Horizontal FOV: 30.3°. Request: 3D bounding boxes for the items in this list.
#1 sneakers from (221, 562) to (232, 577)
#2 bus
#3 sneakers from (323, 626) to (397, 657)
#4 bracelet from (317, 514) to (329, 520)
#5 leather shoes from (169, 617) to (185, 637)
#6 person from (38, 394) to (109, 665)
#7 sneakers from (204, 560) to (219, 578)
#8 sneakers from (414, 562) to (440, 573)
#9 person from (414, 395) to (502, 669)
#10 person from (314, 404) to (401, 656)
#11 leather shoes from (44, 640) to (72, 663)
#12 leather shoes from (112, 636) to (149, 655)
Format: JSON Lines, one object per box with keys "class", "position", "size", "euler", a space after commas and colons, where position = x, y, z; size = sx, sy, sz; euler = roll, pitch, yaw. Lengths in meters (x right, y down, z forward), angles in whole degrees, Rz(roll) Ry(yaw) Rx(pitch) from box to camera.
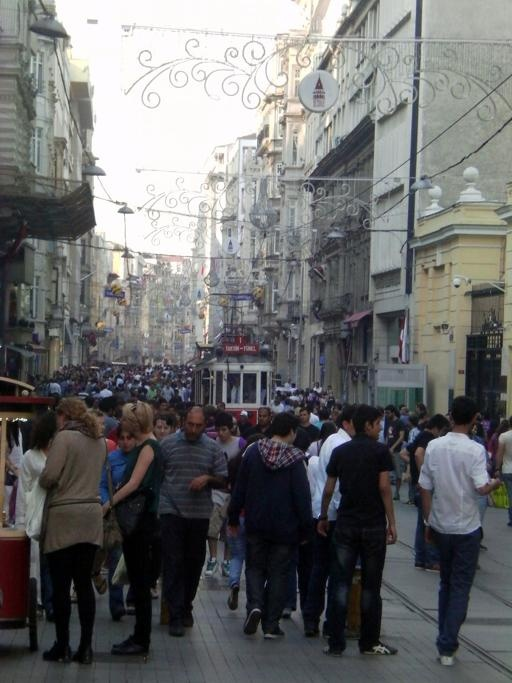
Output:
{"class": "sneakers", "position": [-0.295, 2.329, 9.685], "size": [0.089, 0.142, 0.288], "euler": [1, 7, -1]}
{"class": "bus", "position": [-0.598, 1.012, 26.790], "size": [1.311, 2.067, 3.679], "euler": [1, -2, -5]}
{"class": "sneakers", "position": [0.691, 2.048, 6.481], "size": [0.534, 0.255, 0.180], "euler": [-2, -2, 3]}
{"class": "bracelet", "position": [0.496, 1.279, 6.903], "size": [0.044, 0.033, 0.055], "euler": [1, -5, -13]}
{"class": "leather shoes", "position": [-0.567, 2.049, 6.782], "size": [0.104, 0.121, 0.094], "euler": [3, -2, -5]}
{"class": "person", "position": [-1.145, 1.174, 5.870], "size": [0.389, 1.609, 0.383], "euler": [2, -2, -10]}
{"class": "sneakers", "position": [-0.459, 2.291, 9.669], "size": [0.070, 0.108, 0.234], "euler": [1, 8, 4]}
{"class": "sneakers", "position": [1.859, 2.436, 10.213], "size": [0.211, 0.110, 0.086], "euler": [-2, -1, 6]}
{"class": "person", "position": [1.350, 1.252, 6.371], "size": [0.483, 1.739, 0.421], "euler": [2, -2, 11]}
{"class": "person", "position": [0.711, 1.292, 6.568], "size": [0.588, 1.691, 0.496], "euler": [1, -2, 21]}
{"class": "leather shoes", "position": [-1.234, 1.932, 5.919], "size": [0.162, 0.120, 0.091], "euler": [4, -2, 15]}
{"class": "leather shoes", "position": [-0.810, 1.962, 6.085], "size": [0.180, 0.094, 0.113], "euler": [5, 0, 4]}
